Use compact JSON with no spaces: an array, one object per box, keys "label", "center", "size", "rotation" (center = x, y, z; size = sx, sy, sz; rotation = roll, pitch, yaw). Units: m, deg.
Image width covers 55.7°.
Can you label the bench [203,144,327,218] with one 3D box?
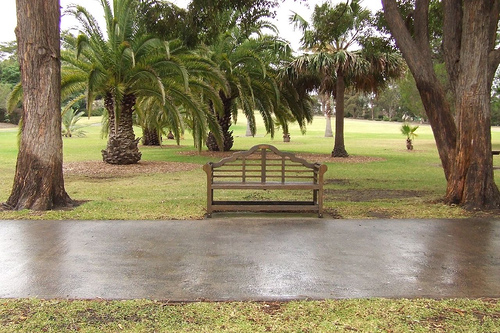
[{"label":"bench","center":[0.312,0.306,10.781],"size":[2.707,1.602,0.882],"rotation":[0,4,-3]}]
